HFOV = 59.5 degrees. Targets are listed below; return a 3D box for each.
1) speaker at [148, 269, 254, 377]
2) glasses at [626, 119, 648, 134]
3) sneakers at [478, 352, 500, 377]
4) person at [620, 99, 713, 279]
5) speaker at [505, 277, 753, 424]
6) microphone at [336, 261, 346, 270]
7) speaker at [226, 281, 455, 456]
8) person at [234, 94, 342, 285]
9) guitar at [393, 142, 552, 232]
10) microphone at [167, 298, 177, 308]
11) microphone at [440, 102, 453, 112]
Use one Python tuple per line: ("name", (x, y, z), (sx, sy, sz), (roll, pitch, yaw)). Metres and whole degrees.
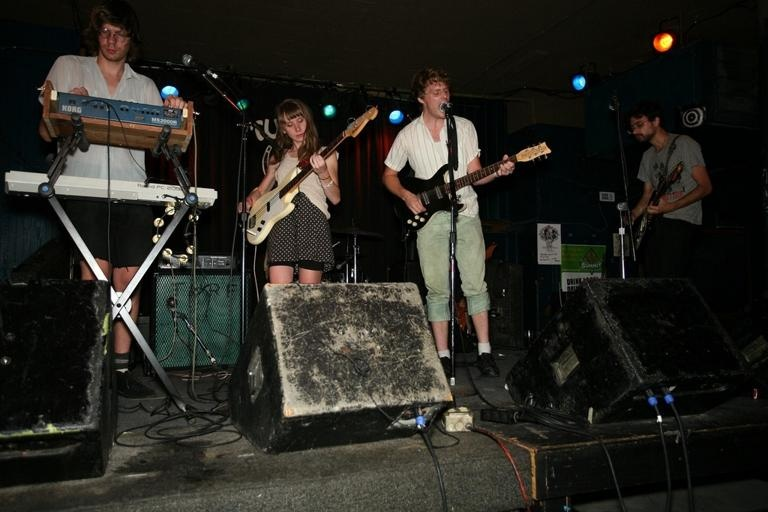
("speaker", (-1.480, 0.545, 5.313), (0.733, 0.808, 0.274), (1, -2, -16))
("glasses", (2.114, -1.087, 5.615), (0.088, 0.146, 0.118), (-20, -4, -22))
("sneakers", (0.730, 0.768, 4.775), (0.162, 0.158, 0.128), (-1, -4, 14))
("person", (2.284, -0.553, 5.463), (0.669, 1.442, 0.491), (-4, -5, 43))
("speaker", (1.388, 0.519, 3.860), (0.905, 0.719, 0.839), (1, -6, -32))
("microphone", (-0.451, 0.096, 6.952), (0.059, 0.068, 0.172), (-13, 2, 11))
("speaker", (-0.228, 0.555, 3.449), (0.982, 0.758, 0.826), (5, -17, -27))
("person", (-0.677, -0.469, 4.964), (0.777, 1.330, 0.477), (-2, -4, 32))
("guitar", (0.814, -0.588, 5.880), (0.856, 0.382, 0.888), (-24, -7, 17))
("microphone", (-1.688, 0.367, 5.337), (0.063, 0.094, 0.085), (-3, 8, -10))
("microphone", (0.433, -1.038, 4.620), (0.065, 0.080, 0.074), (-1, -5, 2))
